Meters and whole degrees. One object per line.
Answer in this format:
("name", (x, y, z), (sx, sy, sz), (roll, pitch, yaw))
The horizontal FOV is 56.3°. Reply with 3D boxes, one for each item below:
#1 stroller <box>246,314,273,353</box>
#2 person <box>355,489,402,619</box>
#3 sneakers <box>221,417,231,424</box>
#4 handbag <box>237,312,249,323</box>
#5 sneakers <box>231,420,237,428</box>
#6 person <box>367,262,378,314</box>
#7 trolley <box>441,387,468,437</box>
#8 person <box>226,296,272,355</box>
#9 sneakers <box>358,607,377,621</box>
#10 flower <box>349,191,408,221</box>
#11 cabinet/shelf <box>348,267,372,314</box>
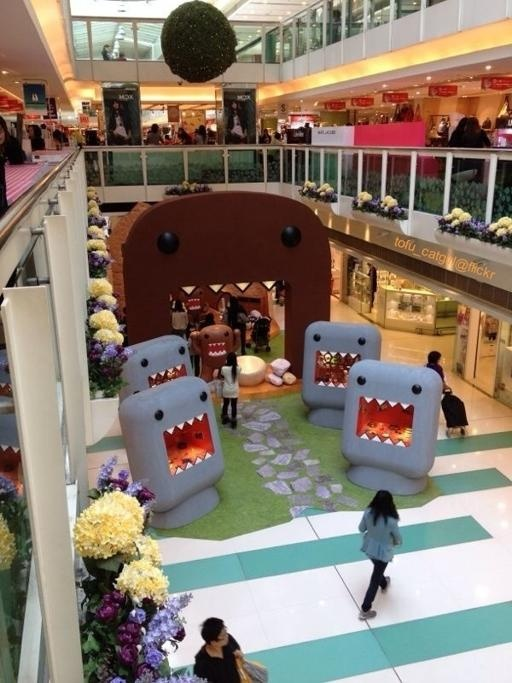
("stroller", (-0.081, -0.325, 13.728), (0.749, 1.087, 1.036), (0, 35, -3))
("person", (1.293, 2.286, 5.158), (0.454, 1.494, 0.360), (-6, 21, -9))
("sneakers", (-0.588, 1.567, 9.446), (0.158, 0.143, 0.234), (-3, -17, -1))
("handbag", (-0.350, -0.580, 12.356), (0.372, 0.321, 0.206), (0, -1, -6))
("sneakers", (-0.430, 1.589, 9.345), (0.069, 0.186, 0.132), (-2, 3, 3))
("person", (4.016, -1.753, 16.417), (0.193, 1.650, 0.483), (-11, 22, -22))
("trolley", (3.792, 1.319, 9.126), (0.540, 0.921, 0.473), (0, 20, 7))
("person", (-0.175, -0.373, 13.017), (1.046, 1.699, 1.387), (9, 37, 14))
("sneakers", (1.220, 2.978, 5.242), (0.149, 0.133, 0.070), (-12, 42, -12))
("flower", (2.644, -2.876, 10.241), (0.323, 0.545, 1.626), (-9, 20, -17))
("cabinet/shelf", (3.736, -1.822, 17.025), (0.647, 1.796, 1.722), (0, -5, -3))
